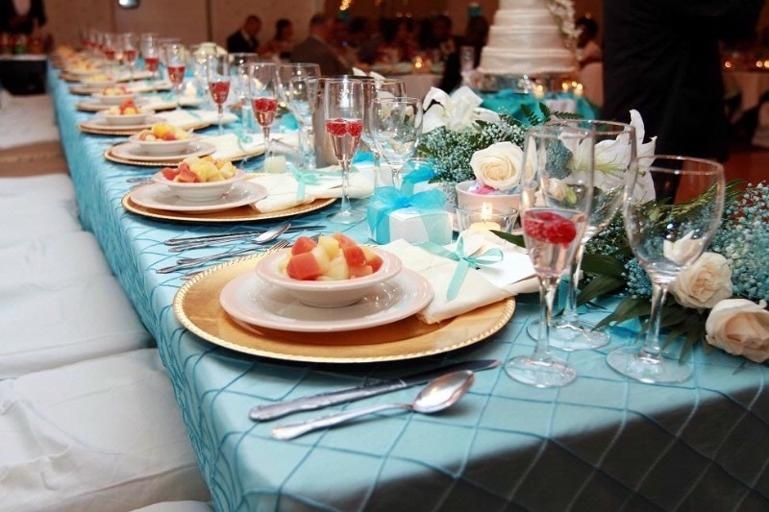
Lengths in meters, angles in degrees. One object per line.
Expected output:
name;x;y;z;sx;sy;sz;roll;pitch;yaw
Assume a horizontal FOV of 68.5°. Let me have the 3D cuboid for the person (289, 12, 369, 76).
person;-0.689;-2.481;7.136;0.596;1.037;0.667;-5;12;2
